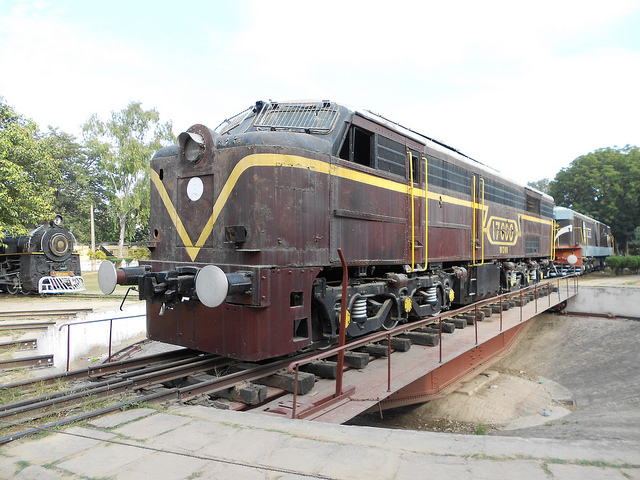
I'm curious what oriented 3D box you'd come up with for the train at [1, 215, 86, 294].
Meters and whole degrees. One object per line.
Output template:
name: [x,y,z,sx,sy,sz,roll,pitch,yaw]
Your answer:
train: [-14.175,0.783,22.381,3.895,4.038,2.046,2,2,9]
